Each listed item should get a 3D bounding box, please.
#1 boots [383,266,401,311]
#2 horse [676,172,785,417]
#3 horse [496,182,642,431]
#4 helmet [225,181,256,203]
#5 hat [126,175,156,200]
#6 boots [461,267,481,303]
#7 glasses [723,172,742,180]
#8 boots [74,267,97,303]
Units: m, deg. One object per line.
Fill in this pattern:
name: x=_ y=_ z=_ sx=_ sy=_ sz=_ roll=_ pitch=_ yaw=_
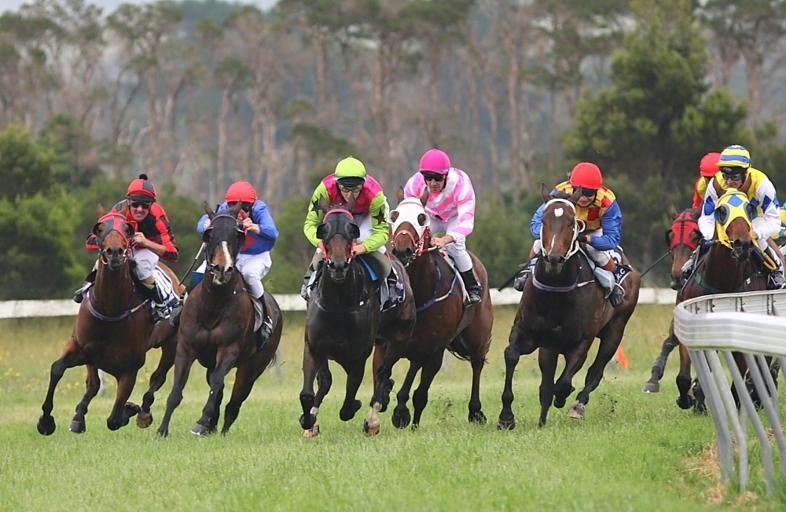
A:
boots: x=0.009 y=0.506 z=22.982 sx=0.384 sy=0.611 sz=0.274 roll=-3 pitch=-15 yaw=38
horse: x=5.541 y=0.621 z=23.505 sx=1.160 sy=3.903 sz=1.592 roll=3 pitch=1 yaw=-17
horse: x=2.933 y=0.820 z=24.463 sx=1.763 sy=3.786 sz=3.788 roll=4 pitch=1 yaw=31
helmet: x=-2.548 y=-1.037 z=23.703 sx=0.361 sy=0.412 sz=0.475 roll=2 pitch=9 yaw=-1
hat: x=-4.196 y=-1.140 z=23.666 sx=0.463 sy=0.383 sz=0.341 roll=3 pitch=1 yaw=-25
boots: x=1.391 y=0.523 z=24.130 sx=0.292 sy=0.627 sz=0.641 roll=0 pitch=9 yaw=-1
glasses: x=5.668 y=-1.298 z=23.466 sx=0.312 sy=0.101 sz=0.208 roll=4 pitch=1 yaw=15
boots: x=-5.912 y=0.543 z=27.198 sx=0.383 sy=0.717 sz=0.189 roll=32 pitch=-10 yaw=-34
